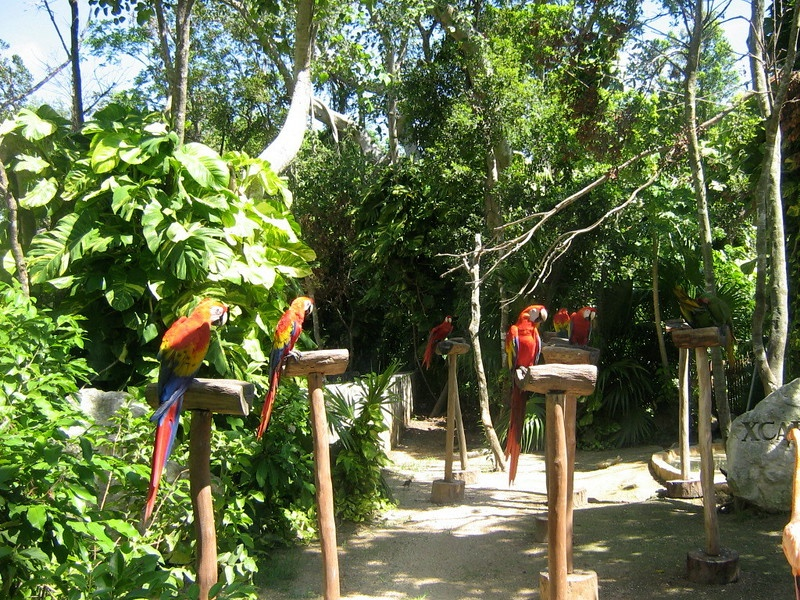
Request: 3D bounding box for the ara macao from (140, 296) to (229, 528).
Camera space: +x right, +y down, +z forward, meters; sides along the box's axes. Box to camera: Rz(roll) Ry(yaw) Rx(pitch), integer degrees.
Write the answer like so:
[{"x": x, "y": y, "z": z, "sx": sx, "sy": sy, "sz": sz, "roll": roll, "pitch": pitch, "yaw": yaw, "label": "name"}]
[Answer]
[{"x": -1.565, "y": 0.760, "z": 5.299, "sx": 0.276, "sy": 1.561, "sz": 0.753, "roll": -3, "pitch": -4, "yaw": 33, "label": "ara macao"}]
